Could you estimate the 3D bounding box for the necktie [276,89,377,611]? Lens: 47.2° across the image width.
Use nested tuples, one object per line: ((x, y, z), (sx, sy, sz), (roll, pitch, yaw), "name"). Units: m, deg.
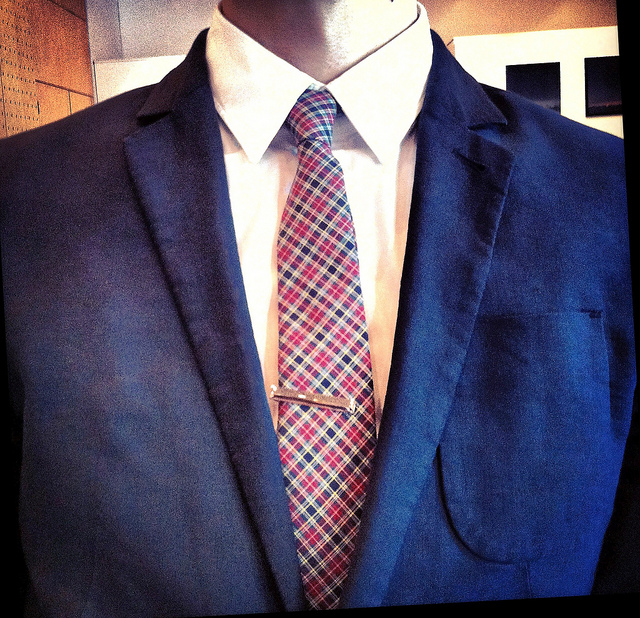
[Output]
((0.002, 0.045, 0.876), (0.116, 0.602, 0.157), (-2, 11, -5), "necktie")
